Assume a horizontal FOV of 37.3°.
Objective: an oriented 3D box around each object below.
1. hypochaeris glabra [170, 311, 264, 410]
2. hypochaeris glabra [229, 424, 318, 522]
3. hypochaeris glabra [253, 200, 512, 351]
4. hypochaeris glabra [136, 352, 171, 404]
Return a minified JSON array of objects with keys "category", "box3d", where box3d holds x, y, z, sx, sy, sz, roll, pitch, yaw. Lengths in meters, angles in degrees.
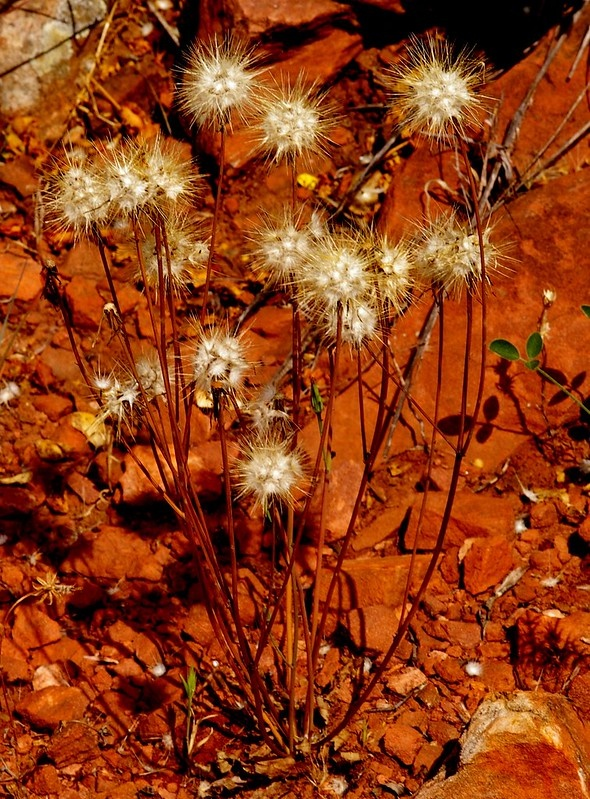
[{"category":"hypochaeris glabra","box3d":[-0.219,-0.105,2.554,0.269,0.269,0.296,3,-25,-5]},{"category":"hypochaeris glabra","box3d":[-0.066,0.184,2.422,0.251,0.265,0.151,11,-33,9]},{"category":"hypochaeris glabra","box3d":[0.209,-0.345,2.207,0.530,0.302,0.532,-25,43,-30]},{"category":"hypochaeris glabra","box3d":[-0.410,-0.060,2.523,0.085,0.163,0.239,9,-11,-9]}]
